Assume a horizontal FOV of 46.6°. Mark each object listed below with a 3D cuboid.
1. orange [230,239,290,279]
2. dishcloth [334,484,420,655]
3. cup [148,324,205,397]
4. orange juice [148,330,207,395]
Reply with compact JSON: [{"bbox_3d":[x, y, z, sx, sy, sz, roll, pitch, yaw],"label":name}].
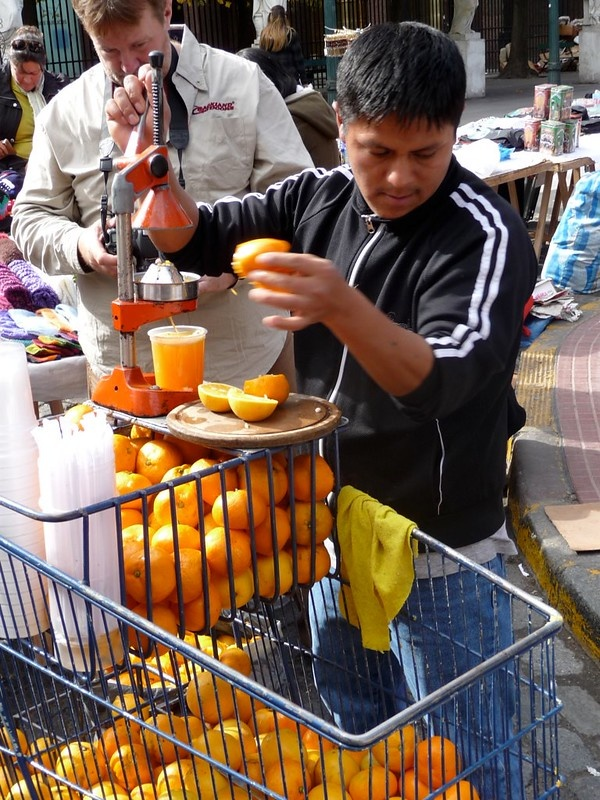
[{"bbox_3d":[-0.070,-0.242,1.155,0.084,0.056,0.106,13,26,33],"label":"orange"},{"bbox_3d":[0.163,0.383,1.492,0.078,0.310,0.319,23,1,20],"label":"dishcloth"},{"bbox_3d":[-0.286,-0.092,1.609,0.124,0.149,0.104,5,26,3],"label":"cup"},{"bbox_3d":[-0.275,-0.090,1.616,0.131,0.130,0.131,11,19,34],"label":"orange juice"}]
